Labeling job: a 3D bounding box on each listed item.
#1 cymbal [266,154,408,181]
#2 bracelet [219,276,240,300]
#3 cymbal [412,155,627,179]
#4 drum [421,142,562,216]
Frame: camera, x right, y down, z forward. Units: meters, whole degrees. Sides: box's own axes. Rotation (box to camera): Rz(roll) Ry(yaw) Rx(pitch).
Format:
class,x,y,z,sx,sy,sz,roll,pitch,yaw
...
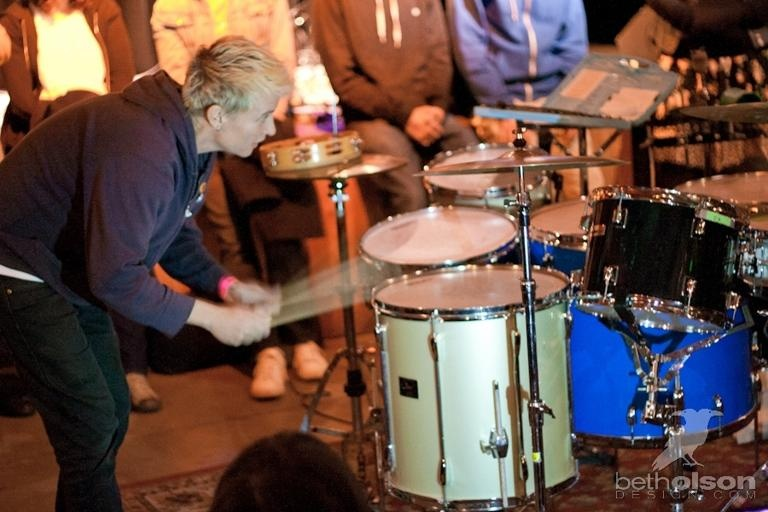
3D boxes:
class,x,y,z,sx,sy,sz,roll,pitch,yaw
cymbal,-0.252,-0.437,3.407,0.370,0.060,0.278,-6,13,-5
bracelet,-0.613,0.125,2.781,0.064,0.060,0.064,-19,21,52
cymbal,0.599,-0.380,2.897,0.689,0.059,0.725,0,7,25
drum,0.557,-0.430,3.856,0.528,0.505,0.496,-14,28,16
